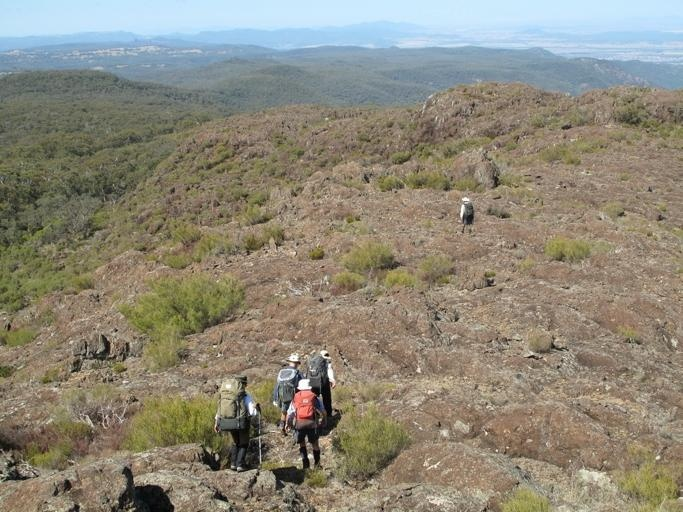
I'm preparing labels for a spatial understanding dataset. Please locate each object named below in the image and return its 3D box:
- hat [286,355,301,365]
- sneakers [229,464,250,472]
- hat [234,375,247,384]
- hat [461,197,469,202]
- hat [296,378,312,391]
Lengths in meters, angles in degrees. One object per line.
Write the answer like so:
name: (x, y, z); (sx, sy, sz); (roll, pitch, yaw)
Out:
hat: (-1.240, 2.682, 16.625); (0.287, 0.228, 0.412); (2, -8, 2)
sneakers: (-2.504, 5.121, 15.405); (0.387, 0.184, 0.189); (0, 0, 1)
hat: (-2.472, 3.126, 15.820); (0.310, 0.253, 0.225); (14, -9, -27)
hat: (4.702, -2.173, 24.304); (0.266, 0.078, 0.286); (-5, 3, -17)
hat: (-0.970, 3.238, 15.918); (0.294, 0.178, 0.423); (-1, -2, -3)
